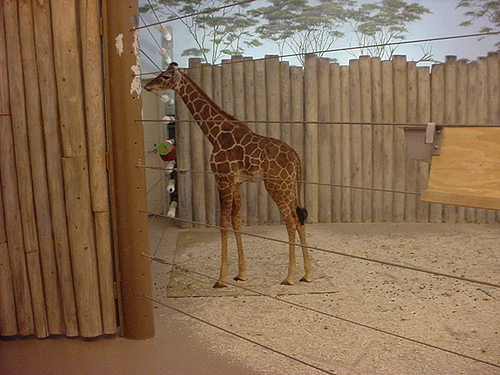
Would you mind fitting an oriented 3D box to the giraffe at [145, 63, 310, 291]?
[{"bbox_3d":[-0.056,-0.155,4.105,0.997,1.857,1.435,-7,12,-34],"label":"giraffe"}]

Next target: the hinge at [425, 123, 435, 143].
[{"bbox_3d":[0.755,-0.227,1.962,0.036,0.080,0.029,6,12,31],"label":"hinge"}]
